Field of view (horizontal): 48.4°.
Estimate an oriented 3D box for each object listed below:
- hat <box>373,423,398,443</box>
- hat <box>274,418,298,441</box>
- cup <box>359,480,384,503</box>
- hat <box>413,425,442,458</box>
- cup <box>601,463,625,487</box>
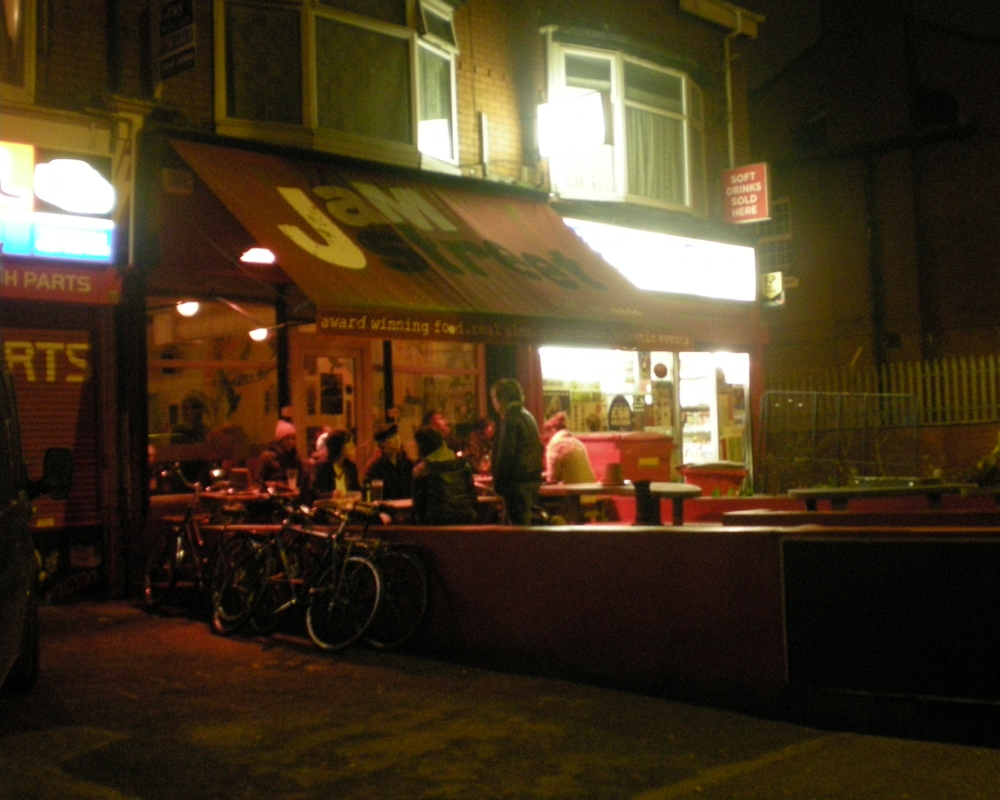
[{"bbox_3d":[-1.319,0.353,13.205,0.210,0.074,0.216,-12,8,42],"label":"hat"},{"bbox_3d":[-2.893,0.393,14.971,0.321,0.299,0.248,-1,0,34],"label":"hat"},{"bbox_3d":[-1.424,1.018,12.409,0.231,0.398,0.245,2,2,0],"label":"cup"},{"bbox_3d":[-0.682,0.394,10.849,0.226,0.294,0.245,26,28,37],"label":"hat"},{"bbox_3d":[1.403,0.931,13.656,0.248,0.256,0.261,2,-10,0],"label":"cup"}]
